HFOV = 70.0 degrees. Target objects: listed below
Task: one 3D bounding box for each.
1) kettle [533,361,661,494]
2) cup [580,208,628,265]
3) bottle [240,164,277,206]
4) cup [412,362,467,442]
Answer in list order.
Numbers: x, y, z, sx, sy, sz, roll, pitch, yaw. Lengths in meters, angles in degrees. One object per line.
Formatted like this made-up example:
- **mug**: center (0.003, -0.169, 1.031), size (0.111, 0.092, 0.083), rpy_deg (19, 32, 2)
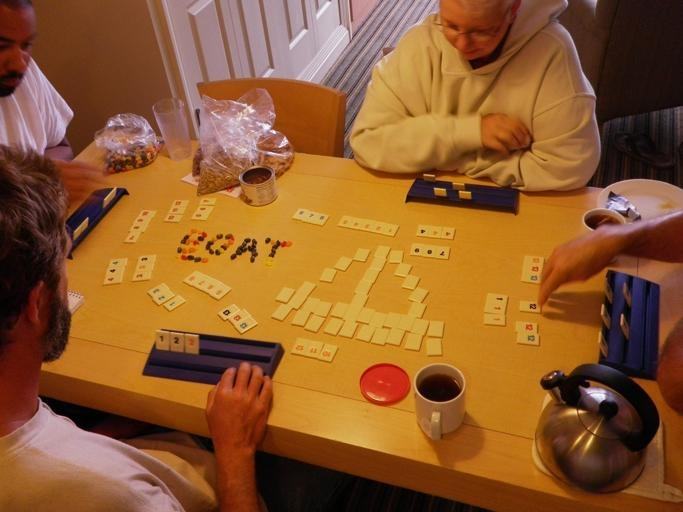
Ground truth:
- **kettle**: center (0.581, 0.380, 1.081), size (0.268, 0.304, 0.133), rpy_deg (7, 33, 15)
- **cup**: center (0.869, -0.079, 1.606), size (0.108, 0.080, 0.111), rpy_deg (-6, 69, 16)
- **bottle**: center (-0.331, -0.274, 1.899), size (0.138, 0.113, 0.152), rpy_deg (-1, 46, 1)
- **cup**: center (0.245, 0.341, 1.198), size (0.124, 0.132, 0.186), rpy_deg (4, 46, 13)
